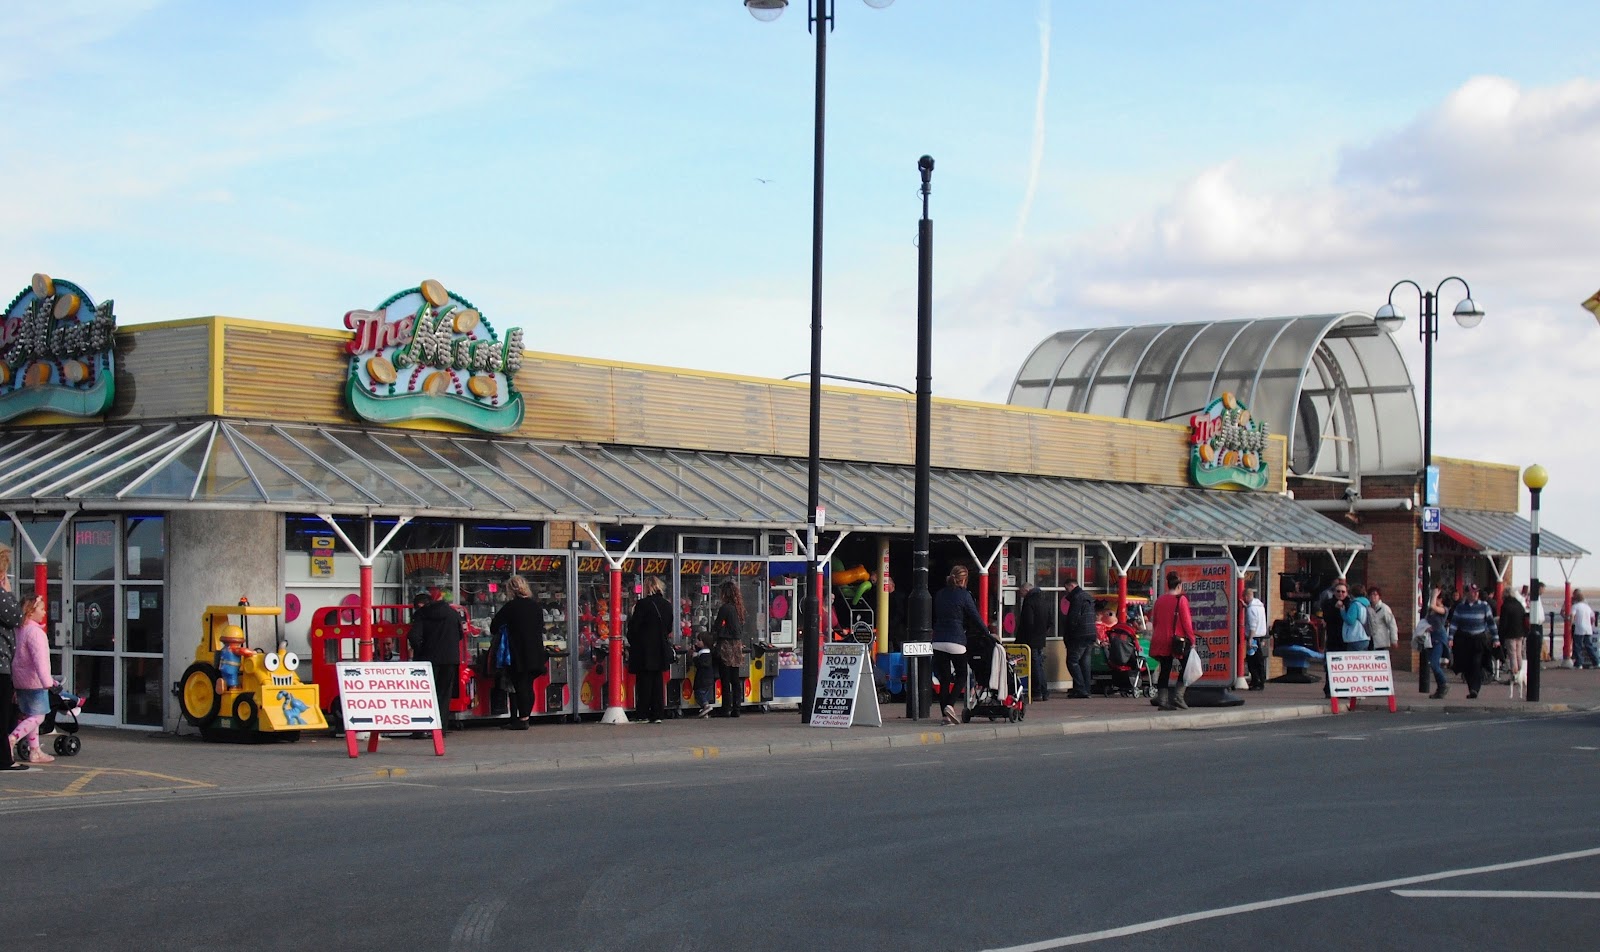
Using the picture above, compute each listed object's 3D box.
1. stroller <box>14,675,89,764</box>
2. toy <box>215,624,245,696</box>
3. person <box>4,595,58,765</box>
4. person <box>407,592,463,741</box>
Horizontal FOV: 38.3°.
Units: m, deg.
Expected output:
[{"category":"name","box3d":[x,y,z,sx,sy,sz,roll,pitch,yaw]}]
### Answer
[{"category":"stroller","box3d":[-12.780,4.294,39.131,1.009,1.737,1.490,-1,-9,8]},{"category":"toy","box3d":[-9.984,3.250,40.182,0.423,1.149,0.346,0,-6,-14]},{"category":"person","box3d":[-12.581,3.380,36.977,0.746,2.479,1.208,4,-7,-27]},{"category":"person","box3d":[-6.337,3.191,40.458,1.007,2.309,0.647,3,-7,-38]}]
